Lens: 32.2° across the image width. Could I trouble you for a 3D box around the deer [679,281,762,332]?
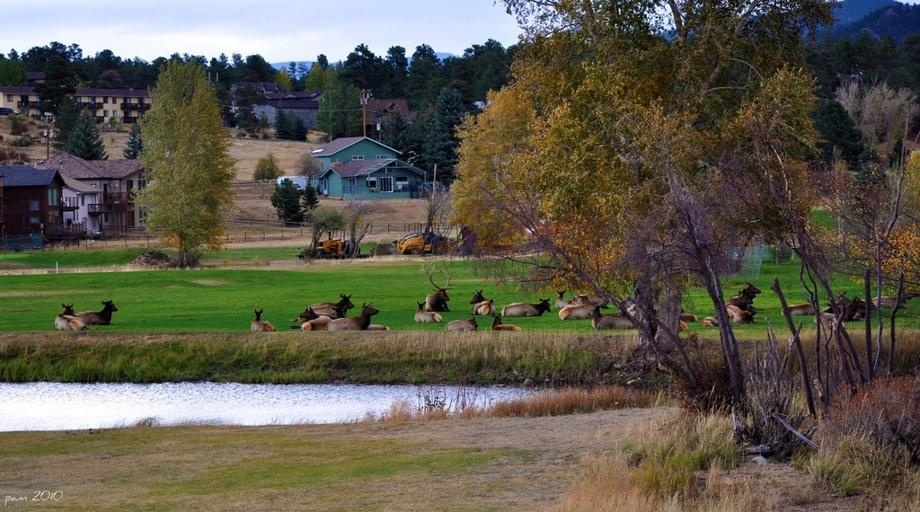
[{"bbox_3d":[25.325,4.756,149.656,9.671,3.491,3.828,-3,9,-32],"label":"deer"}]
